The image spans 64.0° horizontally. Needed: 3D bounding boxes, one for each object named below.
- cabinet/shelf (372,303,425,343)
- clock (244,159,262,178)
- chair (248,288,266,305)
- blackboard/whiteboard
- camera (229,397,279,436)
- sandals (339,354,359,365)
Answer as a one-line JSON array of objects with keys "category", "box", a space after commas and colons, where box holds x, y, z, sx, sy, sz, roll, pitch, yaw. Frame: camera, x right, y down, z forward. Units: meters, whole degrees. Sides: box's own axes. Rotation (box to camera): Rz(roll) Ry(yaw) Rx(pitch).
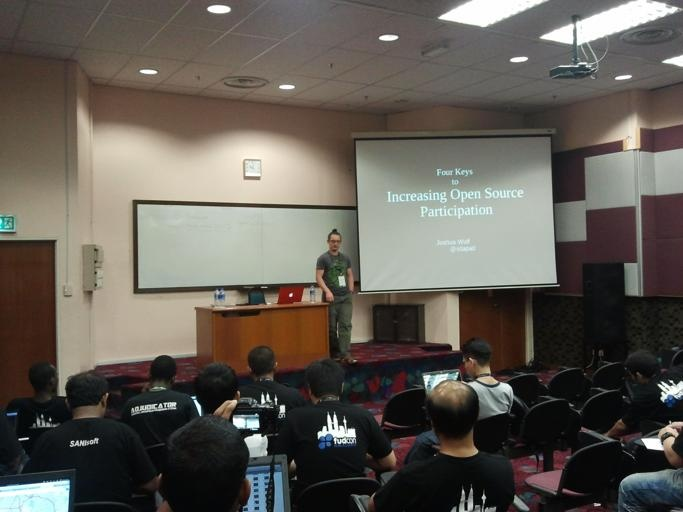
[{"category": "cabinet/shelf", "box": [0.927, 1.116, 8.957, 0.801, 0.608, 0.241, -2, -3, 4]}, {"category": "clock", "box": [-1.383, -1.368, 8.578, 0.287, 0.279, 0.273, -1, 11, -1]}, {"category": "chair", "box": [-1.209, 0.590, 7.762, 0.199, 0.360, 0.210, 2, -8, -27]}, {"category": "blackboard/whiteboard", "box": [-1.508, -0.142, 8.433, 3.199, 1.328, 0.238, -1, -3, -22]}, {"category": "camera", "box": [-0.506, 0.909, 3.138, 0.274, 0.183, 0.205, 1, 6, -5]}, {"category": "sandals", "box": [0.095, 1.362, 7.147, 0.216, 0.091, 0.102, -2, -3, 40]}]
